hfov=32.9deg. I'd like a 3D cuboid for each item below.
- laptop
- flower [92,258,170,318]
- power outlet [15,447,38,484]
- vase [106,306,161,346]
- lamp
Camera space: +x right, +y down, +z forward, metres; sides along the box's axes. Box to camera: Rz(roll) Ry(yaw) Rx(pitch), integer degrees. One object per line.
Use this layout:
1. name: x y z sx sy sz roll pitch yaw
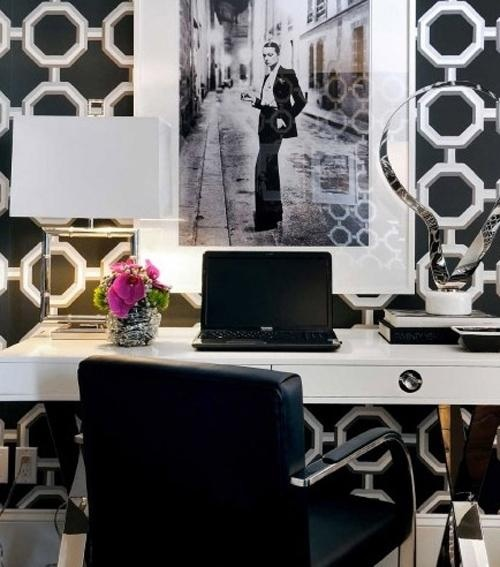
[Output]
1. laptop: 0.040 0.034 2.487 0.365 0.287 0.268 1 -3 1
2. flower: -0.339 0.015 2.451 0.180 0.162 0.187 -7 -11 40
3. power outlet: -0.719 0.585 2.735 0.065 0.128 0.039 2 17 -13
4. vase: -0.336 0.116 2.453 0.151 0.122 0.158 2 9 -3
5. lamp: -0.457 -0.187 2.399 0.450 0.337 0.263 0 2 -3
